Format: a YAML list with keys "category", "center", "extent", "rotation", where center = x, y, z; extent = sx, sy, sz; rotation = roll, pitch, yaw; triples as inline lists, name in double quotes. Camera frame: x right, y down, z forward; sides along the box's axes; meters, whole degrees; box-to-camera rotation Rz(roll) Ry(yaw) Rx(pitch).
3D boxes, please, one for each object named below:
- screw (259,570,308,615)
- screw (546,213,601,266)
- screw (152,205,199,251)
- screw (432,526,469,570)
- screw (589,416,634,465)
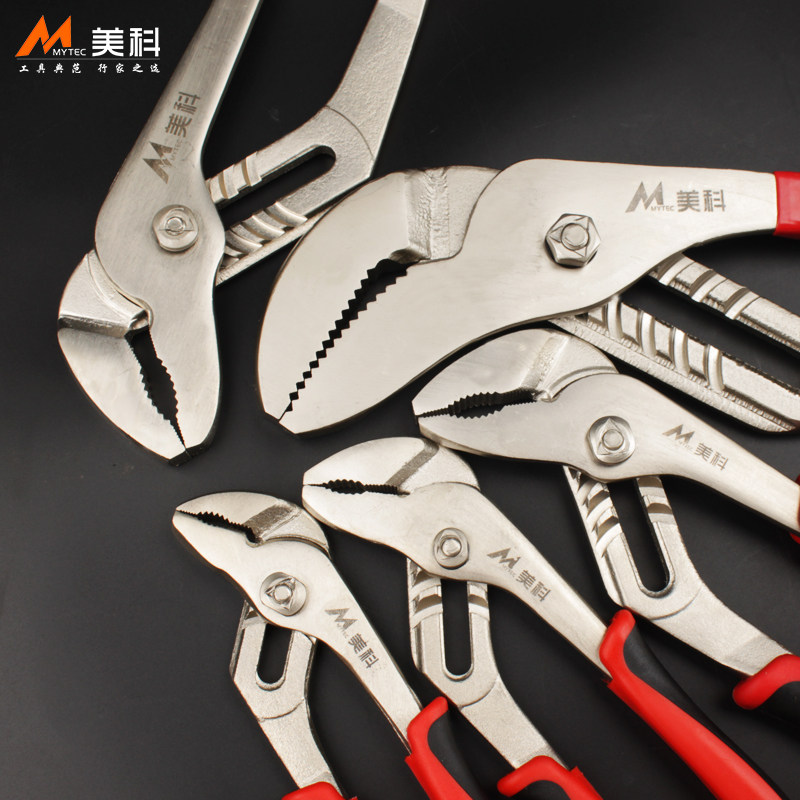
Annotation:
- category: "screw"
  center: [-0.175, 0.293, 1.578]
  extent: [0.066, 0.043, 0.049]
  rotation: [13, 45, 19]
- category: "screw"
  center: [0.266, -0.247, 1.606]
  extent: [0.073, 0.062, 0.061]
  rotation: [-26, 46, -21]
- category: "screw"
  center: [-0.355, -0.276, 1.666]
  extent: [0.070, 0.053, 0.059]
  rotation: [-14, 43, -9]
- category: "screw"
  center: [0.078, 0.225, 1.577]
  extent: [0.054, 0.045, 0.044]
  rotation: [-3, 42, 2]
- category: "screw"
  center: [0.319, 0.061, 1.578]
  extent: [0.069, 0.056, 0.050]
  rotation: [2, 43, 8]
